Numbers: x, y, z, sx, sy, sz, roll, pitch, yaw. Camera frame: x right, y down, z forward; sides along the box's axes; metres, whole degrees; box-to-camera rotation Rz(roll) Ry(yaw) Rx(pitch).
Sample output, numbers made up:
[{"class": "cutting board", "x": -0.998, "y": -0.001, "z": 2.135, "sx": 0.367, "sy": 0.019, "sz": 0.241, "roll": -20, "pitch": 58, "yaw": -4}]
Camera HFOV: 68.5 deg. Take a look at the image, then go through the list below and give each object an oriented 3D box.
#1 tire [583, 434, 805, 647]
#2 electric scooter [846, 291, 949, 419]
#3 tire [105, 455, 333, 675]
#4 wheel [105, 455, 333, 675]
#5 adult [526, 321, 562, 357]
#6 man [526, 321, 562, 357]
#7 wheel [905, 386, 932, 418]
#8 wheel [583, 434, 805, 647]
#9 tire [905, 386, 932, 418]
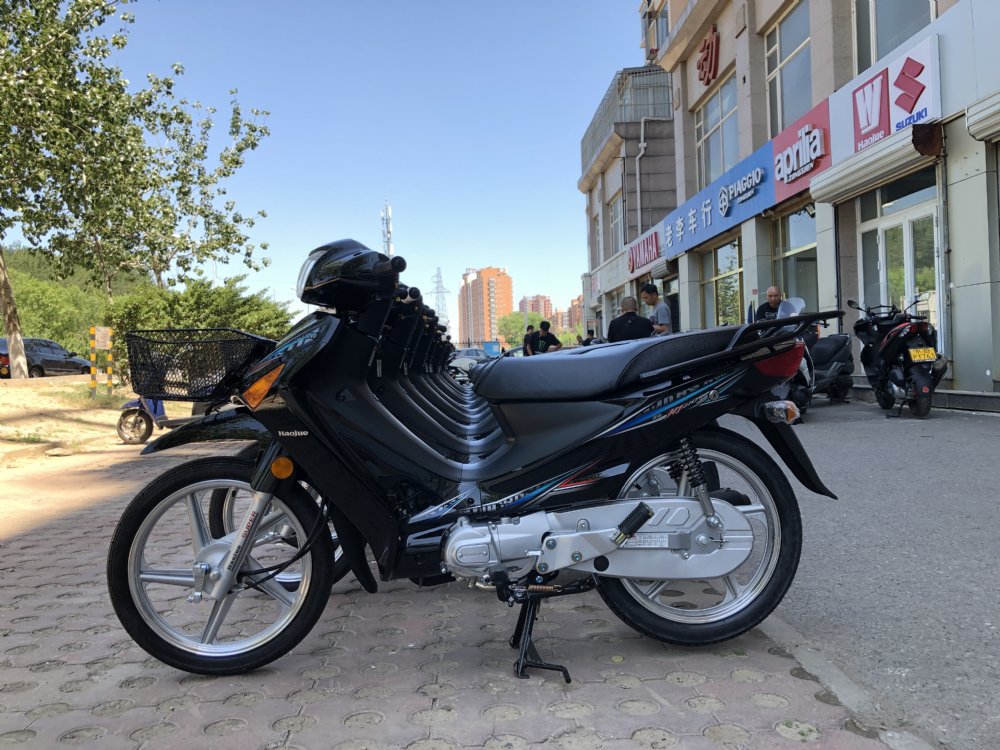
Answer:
[{"class": "tire", "x": 0.826, "y": 0.720, "z": 3.201, "sx": 1.029, "sy": 0.896, "sz": 0.162, "roll": -6, "pitch": -5, "yaw": 2}, {"class": "electric scooter", "x": 5.260, "y": -0.219, "z": 9.647, "sx": 0.662, "sy": 1.509, "sz": 1.289, "roll": -3, "pitch": 4, "yaw": 9}, {"class": "tire", "x": -1.255, "y": 0.910, "z": 3.364, "sx": 1.102, "sy": 0.956, "sz": 0.239, "roll": 0, "pitch": -2, "yaw": 0}, {"class": "wheel", "x": -1.255, "y": 0.910, "z": 3.364, "sx": 1.102, "sy": 0.956, "sz": 0.239, "roll": 0, "pitch": -2, "yaw": 0}, {"class": "adult", "x": 0.894, "y": -0.834, "z": 17.302, "sx": 0.725, "sy": 0.850, "sz": 1.474, "roll": 0, "pitch": -3, "yaw": 35}, {"class": "man", "x": 0.889, "y": -0.853, "z": 17.324, "sx": 0.725, "sy": 0.850, "sz": 1.474, "roll": 0, "pitch": -3, "yaw": 35}, {"class": "wheel", "x": 5.257, "y": 0.363, "z": 9.246, "sx": 0.238, "sy": 0.383, "sz": 0.292, "roll": -1, "pitch": 5, "yaw": 25}, {"class": "wheel", "x": 0.826, "y": 0.720, "z": 3.201, "sx": 1.029, "sy": 0.896, "sz": 0.162, "roll": -6, "pitch": -5, "yaw": 2}, {"class": "tire", "x": 5.257, "y": 0.363, "z": 9.246, "sx": 0.238, "sy": 0.383, "sz": 0.292, "roll": -1, "pitch": 5, "yaw": 25}]
